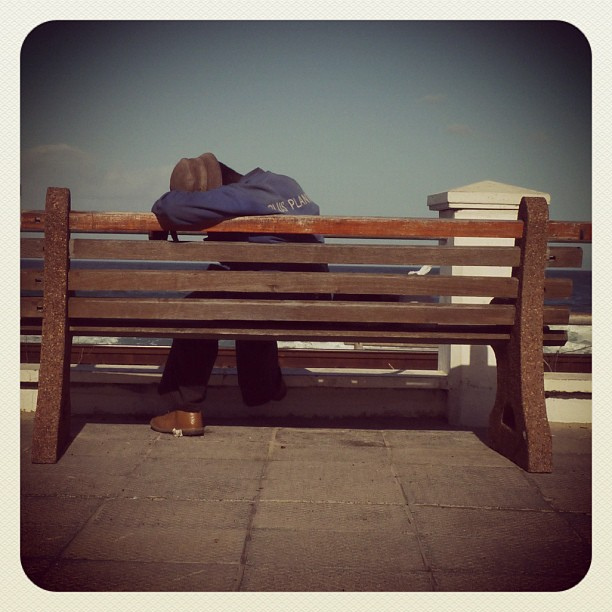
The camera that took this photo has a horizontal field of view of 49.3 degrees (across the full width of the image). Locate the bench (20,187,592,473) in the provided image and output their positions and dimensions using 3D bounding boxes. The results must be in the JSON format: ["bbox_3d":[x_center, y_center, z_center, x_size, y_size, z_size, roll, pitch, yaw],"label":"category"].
[{"bbox_3d":[-0.038,0.148,4.007,3.247,1.208,1.037,-1,-5,-4],"label":"bench"}]

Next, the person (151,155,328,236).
[{"bbox_3d":[-0.437,-0.637,3.848,1.181,0.336,0.778,10,13,-3],"label":"person"}]
